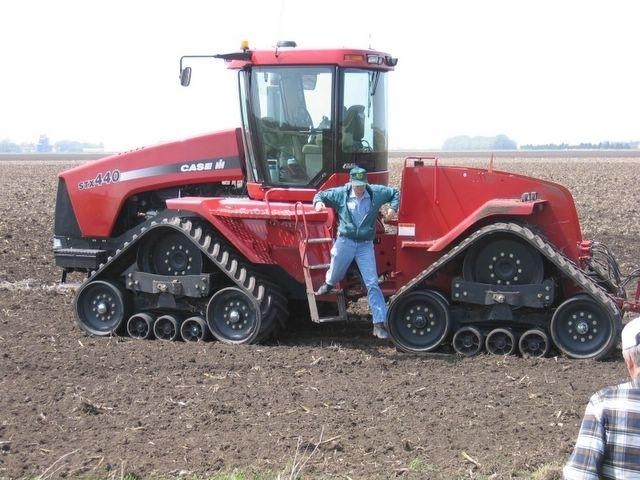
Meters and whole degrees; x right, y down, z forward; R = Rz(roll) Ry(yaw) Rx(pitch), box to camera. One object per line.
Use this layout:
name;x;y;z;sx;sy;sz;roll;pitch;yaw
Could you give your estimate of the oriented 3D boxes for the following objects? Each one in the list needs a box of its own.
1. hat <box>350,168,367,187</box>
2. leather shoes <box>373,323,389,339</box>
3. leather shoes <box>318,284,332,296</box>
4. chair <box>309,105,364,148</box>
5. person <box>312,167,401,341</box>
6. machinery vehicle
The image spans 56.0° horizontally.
hat;0.463;-0.747;7.197;0.160;0.139;0.244;1;8;-2
leather shoes;0.755;1.100;7.363;0.262;0.239;0.124;-1;3;14
leather shoes;0.059;0.619;7.361;0.119;0.056;0.164;-21;5;-34
chair;0.213;-1.553;7.750;0.482;0.587;0.567;13;14;0
person;0.463;0.154;7.386;0.958;2.041;0.534;2;12;19
machinery vehicle;-0.059;-0.572;7.629;7.418;3.865;1.334;2;12;19
